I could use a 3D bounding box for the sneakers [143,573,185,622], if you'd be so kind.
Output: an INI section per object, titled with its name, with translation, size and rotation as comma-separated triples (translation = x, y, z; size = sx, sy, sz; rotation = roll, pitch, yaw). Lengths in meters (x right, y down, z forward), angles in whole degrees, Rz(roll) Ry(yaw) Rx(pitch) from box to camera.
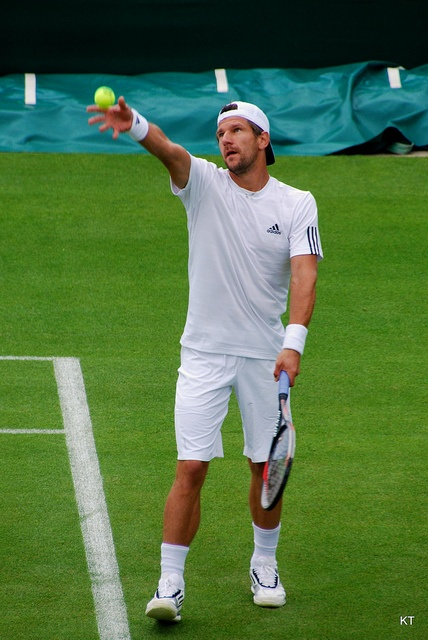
[sneakers]
translation = -0.206, 1.263, 5.076
size = 0.134, 0.228, 0.247
rotation = 4, 14, 19

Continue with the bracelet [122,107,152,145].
[bracelet]
translation = -0.330, -0.866, 5.037
size = 0.114, 0.143, 0.133
rotation = 0, 52, 8

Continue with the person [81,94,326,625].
[person]
translation = 0.071, 0.144, 5.252
size = 0.935, 2.335, 0.879
rotation = -4, 15, -12
